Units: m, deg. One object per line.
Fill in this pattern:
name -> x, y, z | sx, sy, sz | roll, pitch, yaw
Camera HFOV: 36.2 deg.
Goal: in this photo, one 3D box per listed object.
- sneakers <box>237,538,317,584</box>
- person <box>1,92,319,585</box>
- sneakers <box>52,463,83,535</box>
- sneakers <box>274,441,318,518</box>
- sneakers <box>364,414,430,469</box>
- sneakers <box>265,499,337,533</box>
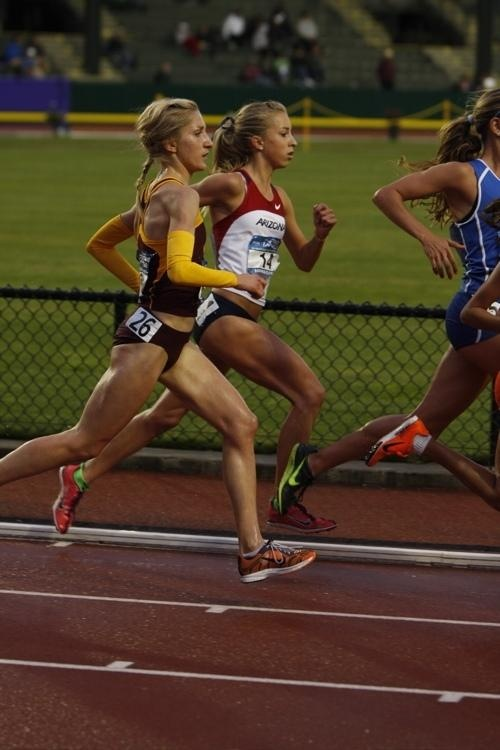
sneakers -> 0.089, 0.723, 3.099 | 0.384, 0.142, 0.130 | -11, 13, -15
person -> -0.361, -0.114, 3.085 | 1.401, 1.977, 0.785 | 19, 17, 35
sneakers -> -0.808, 0.579, 3.591 | 0.170, 0.322, 0.122 | 7, 4, 19
sneakers -> 0.225, 0.499, 3.772 | 0.177, 0.380, 0.141 | 24, 7, 15
sneakers -> 0.661, 0.333, 3.477 | 0.131, 0.363, 0.156 | 47, 40, -7
sneakers -> 0.246, 0.709, 3.873 | 0.436, 0.151, 0.140 | 3, -4, 12
